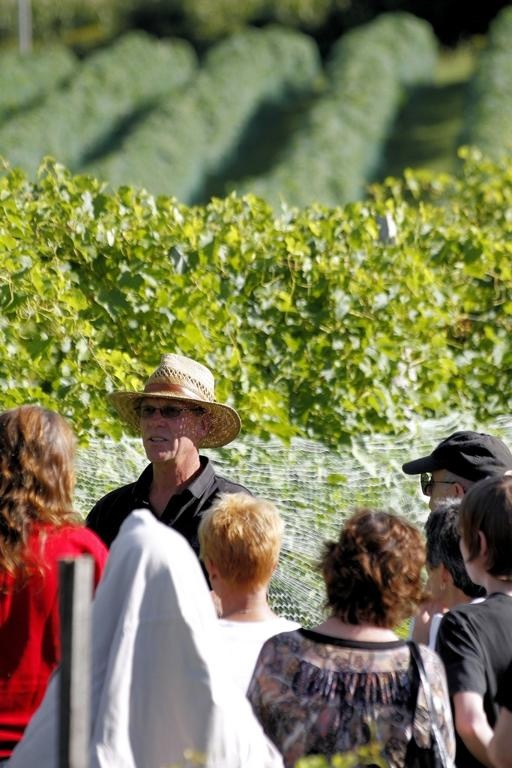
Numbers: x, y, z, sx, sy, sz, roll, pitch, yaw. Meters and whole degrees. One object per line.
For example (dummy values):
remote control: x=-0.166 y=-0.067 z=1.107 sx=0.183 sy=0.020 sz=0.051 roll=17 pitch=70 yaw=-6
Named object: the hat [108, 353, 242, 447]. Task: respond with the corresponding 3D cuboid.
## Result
hat: x=-0.318 y=0.082 z=4.858 sx=0.216 sy=0.392 sz=0.293 roll=-15 pitch=71 yaw=29
